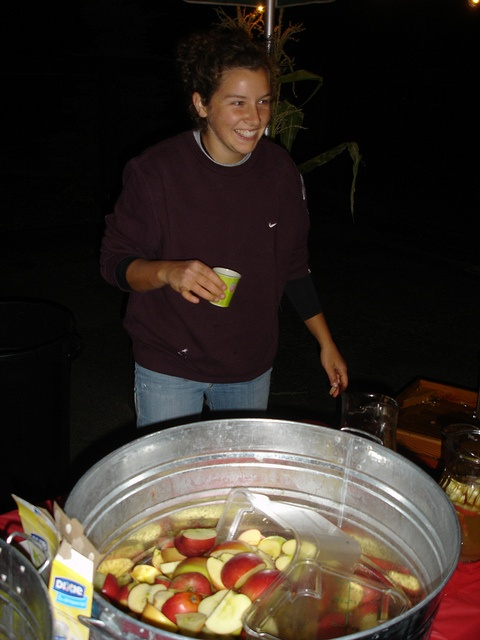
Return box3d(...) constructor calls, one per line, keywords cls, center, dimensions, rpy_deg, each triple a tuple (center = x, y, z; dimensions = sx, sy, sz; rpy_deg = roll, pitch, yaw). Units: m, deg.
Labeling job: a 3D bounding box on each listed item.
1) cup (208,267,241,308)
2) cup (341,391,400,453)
box3d(cls="cup", center=(-0.026, -0.096, 1.303), dimensions=(0.093, 0.091, 0.091), rpy_deg=(20, 14, -5))
box3d(cls="cup", center=(0.284, 0.221, 1.132), dimensions=(0.120, 0.136, 0.135), rpy_deg=(5, -7, -16))
